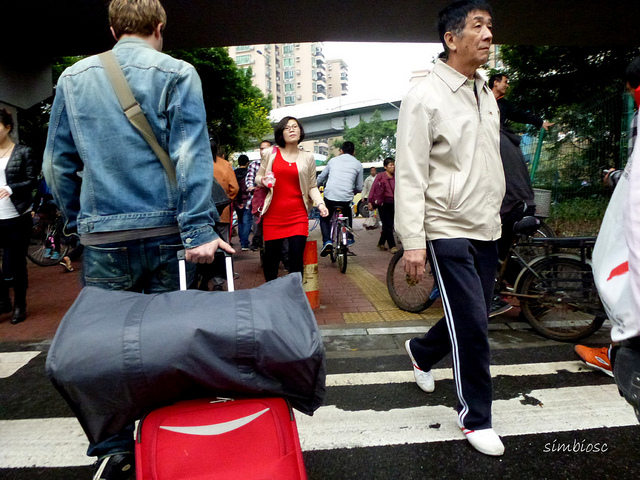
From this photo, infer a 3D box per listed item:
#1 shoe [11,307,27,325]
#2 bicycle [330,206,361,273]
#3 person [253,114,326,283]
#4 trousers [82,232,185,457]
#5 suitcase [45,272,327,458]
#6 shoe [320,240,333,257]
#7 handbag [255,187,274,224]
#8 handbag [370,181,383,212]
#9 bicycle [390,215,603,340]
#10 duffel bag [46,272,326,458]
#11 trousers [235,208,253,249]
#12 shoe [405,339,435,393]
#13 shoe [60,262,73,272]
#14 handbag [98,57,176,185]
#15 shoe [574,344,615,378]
[{"bbox_3d":[-3.593,0.890,5.993,0.129,0.159,0.244,-6,11,-17],"label":"shoe"},{"bbox_3d":[0.417,-0.027,8.957,0.467,1.070,0.960,-2,11,1],"label":"bicycle"},{"bbox_3d":[-0.344,-0.464,5.370,0.649,1.669,0.792,2,12,19],"label":"person"},{"bbox_3d":[-0.909,0.572,2.955,0.628,1.193,0.810,0,14,-18],"label":"trousers"},{"bbox_3d":[-0.619,0.518,2.547,1.219,0.508,0.803,-5,29,-5],"label":"suitcase"},{"bbox_3d":[0.119,0.150,8.696,0.137,0.343,0.132,8,60,-8],"label":"shoe"},{"bbox_3d":[-0.585,-0.377,5.331,0.135,0.411,0.087,14,28,-21],"label":"handbag"},{"bbox_3d":[1.250,-0.944,10.748,0.142,0.428,0.331,13,-12,-42],"label":"handbag"},{"bbox_3d":[2.003,0.255,5.695,1.207,1.351,2.382,0,7,-43],"label":"bicycle"},{"bbox_3d":[-0.618,0.567,2.551,1.196,0.494,0.731,-7,22,-12],"label":"duffel bag"},{"bbox_3d":[-1.712,-0.260,11.567,0.255,1.036,1.041,-5,11,-13],"label":"trousers"},{"bbox_3d":[0.806,1.031,4.014,0.198,0.464,0.165,-18,7,35],"label":"shoe"},{"bbox_3d":[-4.746,0.488,9.414,0.244,0.167,0.070,30,53,18],"label":"shoe"},{"bbox_3d":[-1.010,-0.659,2.747,0.123,0.800,0.088,-34,3,1],"label":"handbag"},{"bbox_3d":[2.274,0.988,4.182,0.235,0.197,0.327,1,11,18],"label":"shoe"}]
